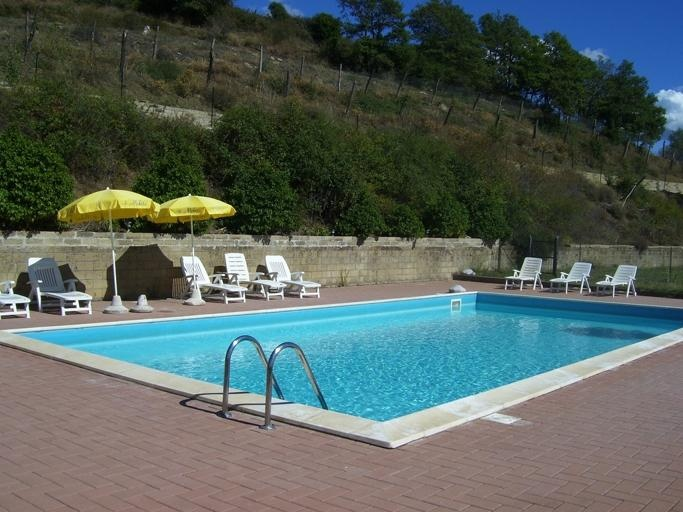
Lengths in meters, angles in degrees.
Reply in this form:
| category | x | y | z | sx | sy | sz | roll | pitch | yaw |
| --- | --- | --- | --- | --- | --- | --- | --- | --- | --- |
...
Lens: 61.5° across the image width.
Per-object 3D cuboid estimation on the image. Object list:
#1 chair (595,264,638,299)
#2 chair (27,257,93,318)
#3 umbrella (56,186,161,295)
| category | x | y | z | sx | sy | sz | roll | pitch | yaw |
| --- | --- | --- | --- | --- | --- | --- | --- | --- | --- |
| chair | 8.147 | 0.781 | 17.191 | 1.554 | 0.809 | 1.042 | -3 | 2 | -39 |
| chair | -5.773 | 0.621 | 11.681 | 1.081 | 1.086 | 1.878 | -1 | 5 | -30 |
| umbrella | -4.952 | -0.252 | 12.444 | 1.956 | 2.310 | 2.494 | 1 | 5 | -9 |
